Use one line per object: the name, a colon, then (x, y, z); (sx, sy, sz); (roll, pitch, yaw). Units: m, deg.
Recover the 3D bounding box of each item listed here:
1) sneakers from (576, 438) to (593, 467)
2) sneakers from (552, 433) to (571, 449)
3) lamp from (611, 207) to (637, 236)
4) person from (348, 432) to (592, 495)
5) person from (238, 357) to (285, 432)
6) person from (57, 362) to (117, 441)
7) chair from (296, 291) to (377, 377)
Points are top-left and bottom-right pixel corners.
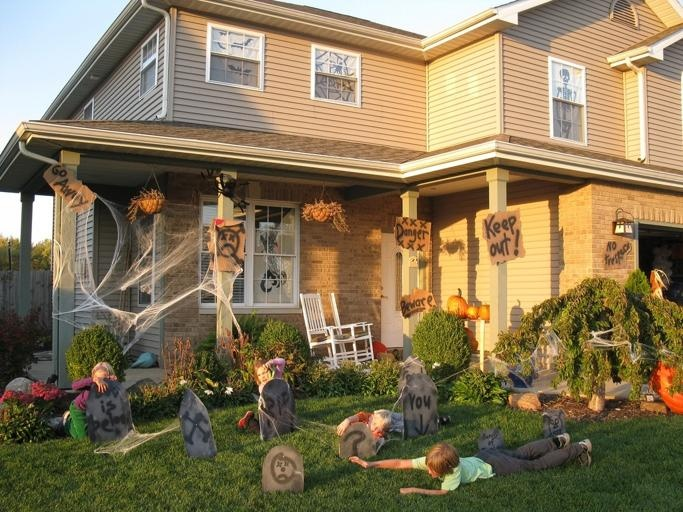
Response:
sneakers: (3.136, 2.532, 9.387); (0.156, 0.393, 0.128); (-1, -5, -9)
sneakers: (2.905, 2.430, 9.558); (0.289, 0.135, 0.106); (-7, 8, -39)
lamp: (6.013, -0.736, 15.416); (0.341, 0.604, 0.715); (-7, -8, 43)
person: (1.808, 2.611, 9.292); (2.792, 0.591, 0.820); (0, -6, -16)
person: (-1.128, 2.294, 11.162); (0.583, 1.442, 0.532); (-5, 1, 6)
person: (-3.577, 2.055, 10.283); (0.500, 1.054, 1.020); (4, -8, -37)
chair: (-0.075, 1.588, 15.764); (1.521, 2.425, 1.363); (-7, -7, 42)
